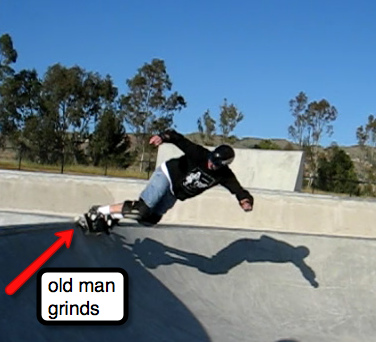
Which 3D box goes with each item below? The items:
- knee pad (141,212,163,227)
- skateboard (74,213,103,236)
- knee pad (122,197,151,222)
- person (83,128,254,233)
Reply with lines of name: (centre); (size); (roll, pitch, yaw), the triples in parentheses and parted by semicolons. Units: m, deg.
knee pad: (-0.475, 0.615, 3.858); (0.166, 0.118, 0.165); (-33, -10, 40)
skateboard: (-1.239, 0.674, 3.780); (0.334, 0.254, 0.114); (49, -5, 6)
knee pad: (-0.620, 0.458, 3.637); (0.353, 0.297, 0.130); (7, 0, -4)
person: (-0.258, 0.057, 3.957); (1.703, 0.884, 1.307); (-16, -52, 14)
